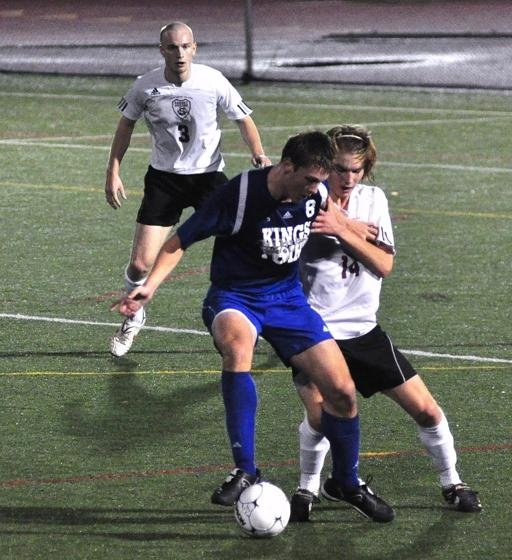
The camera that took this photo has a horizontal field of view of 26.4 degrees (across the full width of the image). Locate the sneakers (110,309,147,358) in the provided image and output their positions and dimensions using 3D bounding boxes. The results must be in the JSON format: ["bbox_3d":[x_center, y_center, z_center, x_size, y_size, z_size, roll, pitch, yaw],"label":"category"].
[{"bbox_3d":[-0.789,0.352,6.829,0.127,0.345,0.173,40,-31,-18],"label":"sneakers"}]

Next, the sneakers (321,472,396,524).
[{"bbox_3d":[0.489,1.006,5.075,0.402,0.148,0.133,24,-8,3],"label":"sneakers"}]

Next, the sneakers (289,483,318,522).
[{"bbox_3d":[0.233,1.063,5.116,0.074,0.077,0.199,7,18,13],"label":"sneakers"}]

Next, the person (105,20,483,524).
[{"bbox_3d":[0.291,0.208,5.081,1.253,1.782,1.054,-11,21,-33],"label":"person"}]
